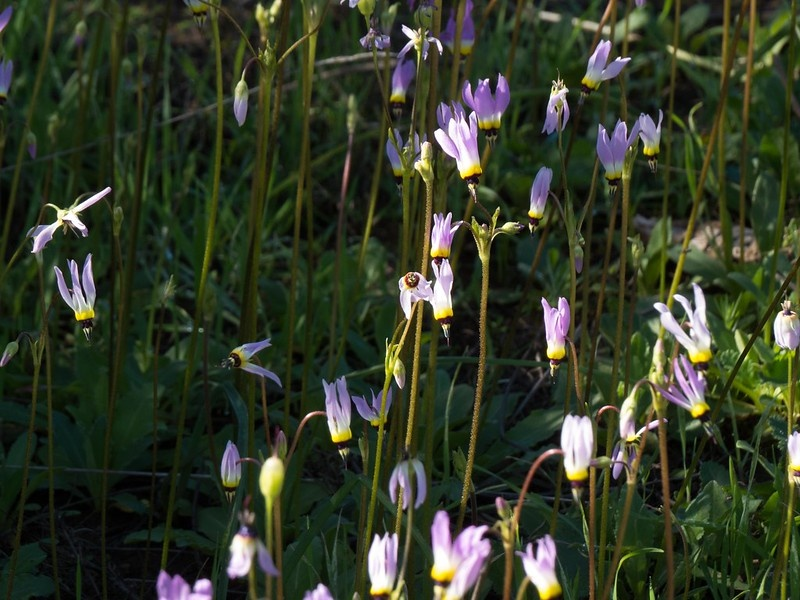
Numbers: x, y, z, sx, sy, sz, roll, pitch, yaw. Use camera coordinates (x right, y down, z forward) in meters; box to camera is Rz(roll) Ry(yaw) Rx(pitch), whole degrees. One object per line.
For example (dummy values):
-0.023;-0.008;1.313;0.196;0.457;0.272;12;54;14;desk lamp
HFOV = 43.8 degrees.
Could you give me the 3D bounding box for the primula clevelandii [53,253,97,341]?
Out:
-0.986;-0.004;3.032;0.108;0.365;0.434;-1;14;-19;primula clevelandii
